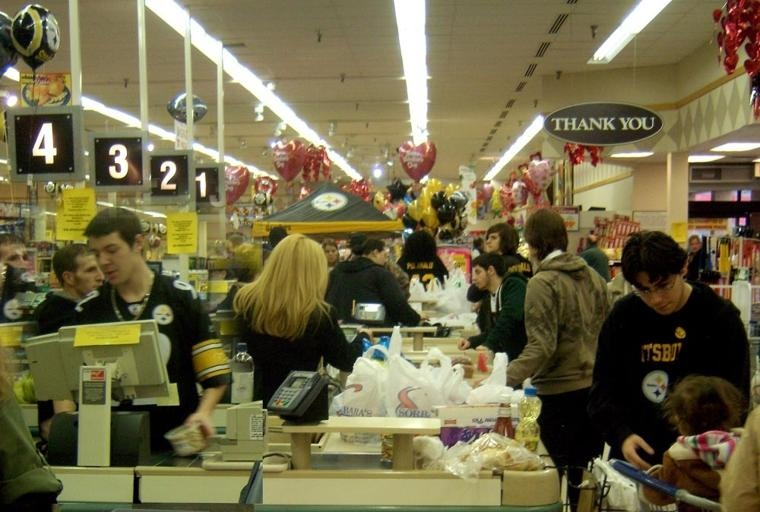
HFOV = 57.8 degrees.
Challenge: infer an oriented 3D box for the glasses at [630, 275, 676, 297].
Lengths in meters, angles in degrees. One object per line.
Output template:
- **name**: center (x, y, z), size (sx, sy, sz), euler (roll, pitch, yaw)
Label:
- **glasses**: center (1.339, 0.148, 3.365), size (0.129, 0.041, 0.128), euler (1, 18, 22)

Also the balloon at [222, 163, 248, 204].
- **balloon**: center (-3.027, -1.478, 14.458), size (0.405, 0.877, 1.410), euler (2, -2, -10)

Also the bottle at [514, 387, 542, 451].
- **bottle**: center (0.743, 0.838, 3.482), size (0.120, 0.342, 0.247), euler (1, -2, 13)

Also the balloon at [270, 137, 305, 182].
- **balloon**: center (-1.801, -1.932, 13.599), size (0.594, 0.793, 0.624), euler (3, -2, -43)

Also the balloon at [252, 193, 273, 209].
- **balloon**: center (-3.004, -1.400, 17.549), size (0.457, 0.433, 0.244), euler (-3, 4, 7)

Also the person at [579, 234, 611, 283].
- **person**: center (3.082, 0.200, 10.056), size (0.337, 1.032, 0.327), euler (-3, 26, 12)

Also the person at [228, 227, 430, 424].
- **person**: center (-0.366, 0.284, 4.328), size (1.018, 1.519, 0.734), euler (-16, 23, -41)

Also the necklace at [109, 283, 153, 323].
- **necklace**: center (-1.318, 0.257, 3.601), size (0.204, 0.166, 0.046), euler (1, -2, 5)

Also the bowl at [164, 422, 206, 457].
- **bowl**: center (-0.966, 0.904, 3.379), size (0.144, 0.123, 0.181), euler (-26, -18, 2)

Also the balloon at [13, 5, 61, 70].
- **balloon**: center (-2.851, -1.809, 5.665), size (0.295, 0.584, 0.375), euler (2, -2, -8)

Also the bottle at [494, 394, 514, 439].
- **bottle**: center (0.633, 0.834, 3.511), size (0.100, 0.173, 0.291), euler (1, -2, 11)

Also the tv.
- **tv**: center (-1.353, 0.553, 3.281), size (0.640, 0.406, 0.251), euler (-6, 4, -8)
